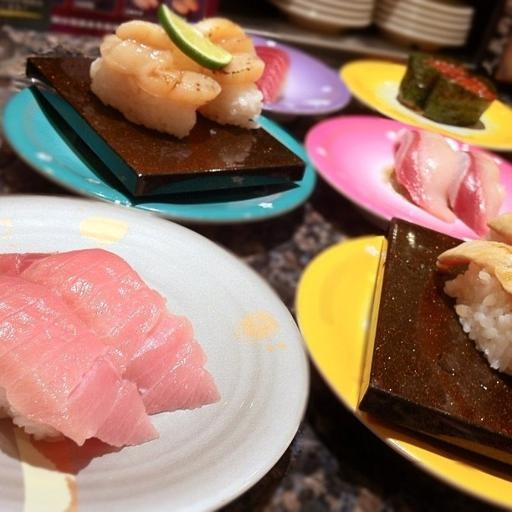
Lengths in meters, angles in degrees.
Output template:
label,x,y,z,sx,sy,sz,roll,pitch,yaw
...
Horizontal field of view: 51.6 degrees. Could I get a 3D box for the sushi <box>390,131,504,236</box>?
label,x,y,z,sx,sy,sz,roll,pitch,yaw
sushi,0.286,-0.112,0.898,0.188,0.057,0.182,7,48,-21
